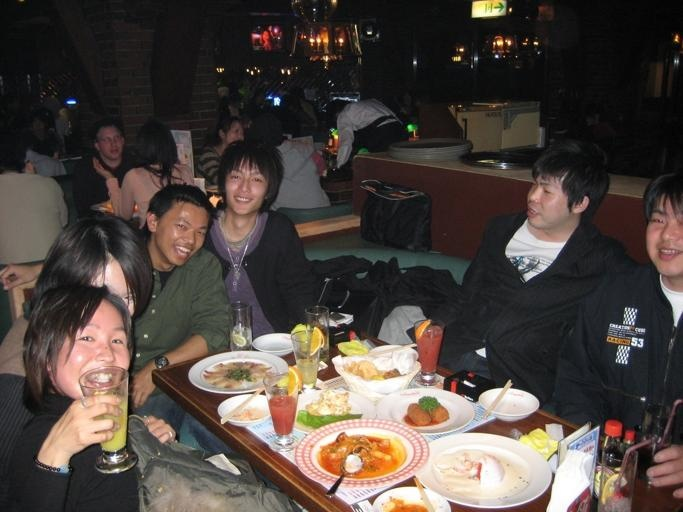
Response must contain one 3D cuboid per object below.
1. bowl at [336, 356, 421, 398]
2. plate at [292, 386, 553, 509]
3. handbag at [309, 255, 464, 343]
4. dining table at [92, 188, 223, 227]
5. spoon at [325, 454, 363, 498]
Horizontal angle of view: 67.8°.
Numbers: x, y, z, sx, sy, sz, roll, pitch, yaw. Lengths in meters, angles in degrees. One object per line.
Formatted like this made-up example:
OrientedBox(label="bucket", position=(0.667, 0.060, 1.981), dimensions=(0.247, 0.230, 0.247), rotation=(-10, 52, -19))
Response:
OrientedBox(label="bowl", position=(0.123, 0.495, 2.026), dimensions=(0.193, 0.069, 0.200), rotation=(-1, 5, 0))
OrientedBox(label="plate", position=(0.237, 0.599, 1.600), dimensions=(0.437, 0.038, 0.326), rotation=(-6, 17, -21))
OrientedBox(label="handbag", position=(0.275, 0.204, 3.274), dimensions=(0.728, 0.234, 0.525), rotation=(-16, 24, -38))
OrientedBox(label="dining table", position=(-1.196, -0.313, 3.274), dimensions=(0.673, 0.287, 0.481), rotation=(-3, 21, -11))
OrientedBox(label="spoon", position=(0.004, 0.664, 1.509), dimensions=(0.049, 0.029, 0.201), rotation=(23, 4, 22))
